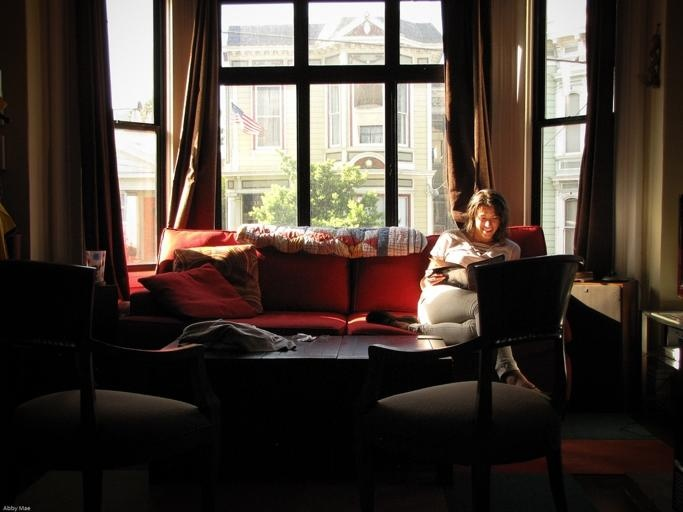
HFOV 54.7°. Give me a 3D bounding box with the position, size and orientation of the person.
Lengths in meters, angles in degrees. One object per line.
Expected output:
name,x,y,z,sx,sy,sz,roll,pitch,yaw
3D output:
person,0.861,0.186,3.927,0.540,1.253,1.007,10,-6,-12
